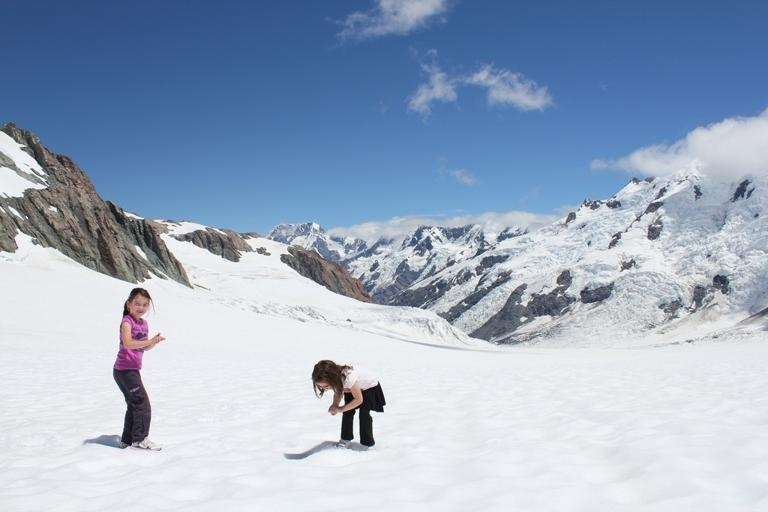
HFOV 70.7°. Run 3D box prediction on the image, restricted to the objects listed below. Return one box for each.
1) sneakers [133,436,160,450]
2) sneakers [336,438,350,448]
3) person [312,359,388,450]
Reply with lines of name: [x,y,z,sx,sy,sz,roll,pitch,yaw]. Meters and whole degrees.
sneakers: [-5.816,4.598,13.325,0.799,0.247,0.237,2,-6,-6]
sneakers: [-1.044,4.721,13.700,0.348,0.188,0.232,-1,-4,-5]
person: [-0.897,3.698,13.736,1.689,2.239,0.673,1,-6,-36]
